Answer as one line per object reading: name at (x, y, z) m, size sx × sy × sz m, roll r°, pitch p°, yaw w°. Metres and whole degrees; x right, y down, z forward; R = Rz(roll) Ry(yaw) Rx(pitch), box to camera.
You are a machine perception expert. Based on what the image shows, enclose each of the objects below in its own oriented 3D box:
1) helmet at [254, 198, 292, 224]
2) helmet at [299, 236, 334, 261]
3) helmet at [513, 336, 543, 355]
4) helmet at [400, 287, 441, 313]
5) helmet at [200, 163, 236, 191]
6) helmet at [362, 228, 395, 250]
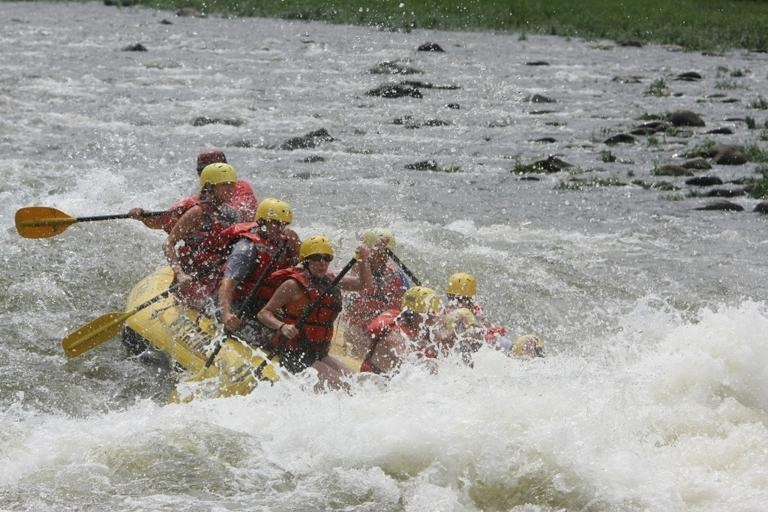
helmet at (-2.215, -0.911, 22.733) m, size 0.630 × 0.361 × 0.471 m, roll 9°, pitch 6°, yaw 16°
helmet at (-1.347, -0.210, 22.158) m, size 0.453 × 0.582 × 0.432 m, roll 3°, pitch 30°, yaw -16°
helmet at (2.831, 1.781, 22.087) m, size 0.400 × 0.249 × 0.458 m, roll -3°, pitch -3°, yaw -2°
helmet at (0.728, 0.908, 21.953) m, size 0.479 × 0.492 × 0.653 m, roll 31°, pitch -43°, yaw -32°
helmet at (-3.481, -1.680, 23.300) m, size 0.644 × 0.486 × 0.469 m, roll -25°, pitch -11°, yaw 25°
helmet at (-0.118, -0.395, 23.002) m, size 0.522 × 0.391 × 0.523 m, roll -2°, pitch -14°, yaw 23°
